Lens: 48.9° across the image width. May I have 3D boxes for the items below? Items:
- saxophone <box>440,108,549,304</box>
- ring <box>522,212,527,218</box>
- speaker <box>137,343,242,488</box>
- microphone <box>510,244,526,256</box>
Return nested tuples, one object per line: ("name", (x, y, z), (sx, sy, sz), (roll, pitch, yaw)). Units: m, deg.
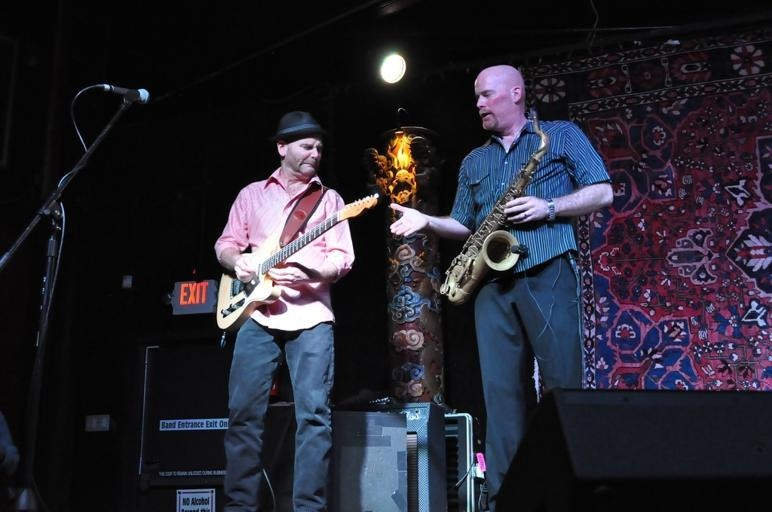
("saxophone", (0.698, -0.148, 4.962), (0.272, 1.067, 0.410), (16, -9, -1))
("ring", (0.783, -0.228, 4.791), (0.031, 0.032, 0.008), (7, 9, 38))
("speaker", (-1.348, 1.077, 6.016), (0.611, 0.978, 0.575), (-2, -1, 9))
("microphone", (0.760, -0.027, 4.817), (0.100, 0.056, 0.039), (6, -16, -24))
